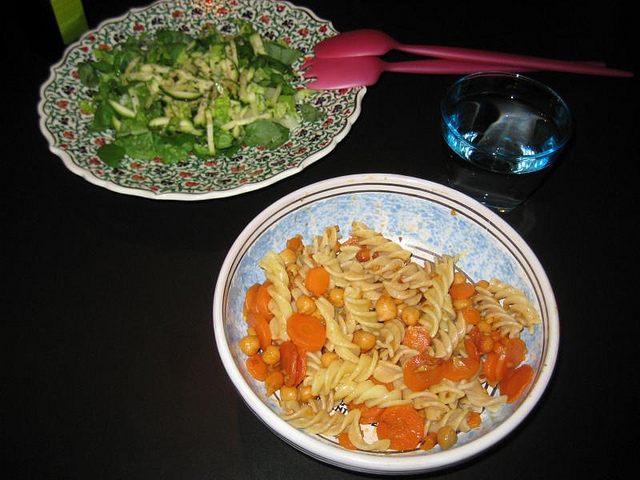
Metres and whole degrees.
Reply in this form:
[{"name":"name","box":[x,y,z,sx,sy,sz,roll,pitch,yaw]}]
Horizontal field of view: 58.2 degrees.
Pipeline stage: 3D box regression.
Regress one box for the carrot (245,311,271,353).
[{"name":"carrot","box":[-0.342,0.518,3.220,0.070,0.181,0.184,-13,92,-19]}]

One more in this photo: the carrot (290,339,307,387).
[{"name":"carrot","box":[-0.120,0.709,3.190,0.026,0.103,0.164,-9,73,32]}]

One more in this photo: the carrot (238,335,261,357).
[{"name":"carrot","box":[-0.387,0.590,3.161,0.108,0.083,0.104,-26,79,-5]}]

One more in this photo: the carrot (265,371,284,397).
[{"name":"carrot","box":[-0.254,0.783,3.086,0.069,0.045,0.129,18,76,4]}]

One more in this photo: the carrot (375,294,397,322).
[{"name":"carrot","box":[0.384,0.404,3.348,0.102,0.082,0.150,10,79,-4]}]

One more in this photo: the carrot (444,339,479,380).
[{"name":"carrot","box":[0.804,0.698,3.231,0.137,0.043,0.210,5,55,3]}]

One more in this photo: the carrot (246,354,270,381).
[{"name":"carrot","box":[-0.341,0.696,3.125,0.096,0.036,0.130,-12,75,-38]}]

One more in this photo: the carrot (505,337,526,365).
[{"name":"carrot","box":[1.076,0.627,3.190,0.106,0.061,0.146,11,79,2]}]

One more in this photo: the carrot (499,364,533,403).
[{"name":"carrot","box":[1.045,0.768,3.062,0.082,0.188,0.205,43,81,9]}]

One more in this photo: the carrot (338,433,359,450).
[{"name":"carrot","box":[0.144,1.059,3.006,0.106,0.125,0.058,14,78,3]}]

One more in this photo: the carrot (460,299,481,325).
[{"name":"carrot","box":[0.881,0.439,3.368,0.101,0.053,0.137,3,61,-25]}]

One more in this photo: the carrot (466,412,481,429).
[{"name":"carrot","box":[0.811,0.961,3.052,0.081,0.077,0.067,-32,79,-6]}]

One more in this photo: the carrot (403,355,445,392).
[{"name":"carrot","box":[0.575,0.740,3.212,0.231,0.065,0.177,-13,44,-20]}]

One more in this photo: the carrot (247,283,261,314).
[{"name":"carrot","box":[-0.385,0.351,3.302,0.121,0.014,0.130,-9,73,-12]}]

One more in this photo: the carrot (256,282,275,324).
[{"name":"carrot","box":[-0.326,0.379,3.289,0.050,0.174,0.170,-1,43,15]}]
